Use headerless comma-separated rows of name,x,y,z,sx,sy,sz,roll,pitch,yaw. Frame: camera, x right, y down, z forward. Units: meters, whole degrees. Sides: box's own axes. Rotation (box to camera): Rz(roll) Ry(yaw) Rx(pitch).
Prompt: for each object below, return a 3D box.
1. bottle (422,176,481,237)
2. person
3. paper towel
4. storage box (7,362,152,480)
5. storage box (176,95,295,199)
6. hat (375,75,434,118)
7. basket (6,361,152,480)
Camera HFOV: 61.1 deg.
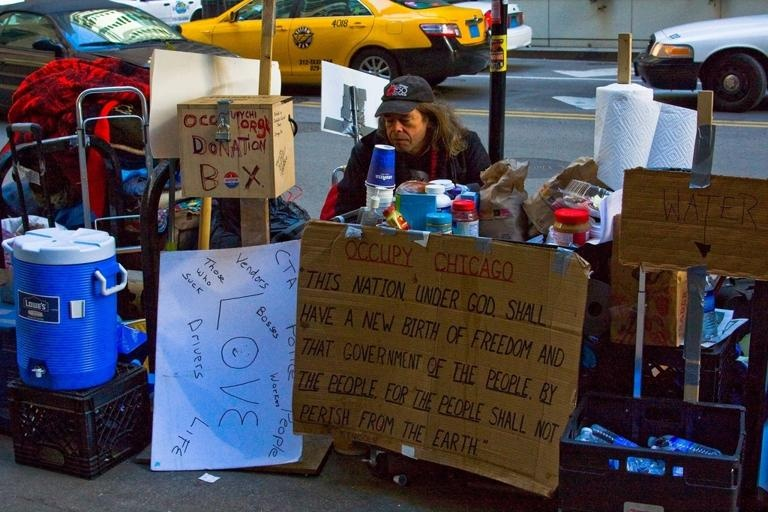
bottle,0.452,-0.280,3.825,0.417,0.397,0.258,7,10,35
person,0.206,-0.601,4.944,1.307,1.375,0.792,-3,6,0
paper towel,1.657,-0.829,4.361,0.885,0.799,0.482,11,13,19
storage box,-1.892,1.000,4.147,0.698,0.516,0.693,6,12,28
storage box,-0.917,-0.666,4.052,0.652,0.630,0.328,1,14,5
hat,0.163,-1.156,4.697,0.407,0.276,0.344,2,13,7
basket,-1.901,0.987,4.386,0.937,0.616,0.811,3,12,17
